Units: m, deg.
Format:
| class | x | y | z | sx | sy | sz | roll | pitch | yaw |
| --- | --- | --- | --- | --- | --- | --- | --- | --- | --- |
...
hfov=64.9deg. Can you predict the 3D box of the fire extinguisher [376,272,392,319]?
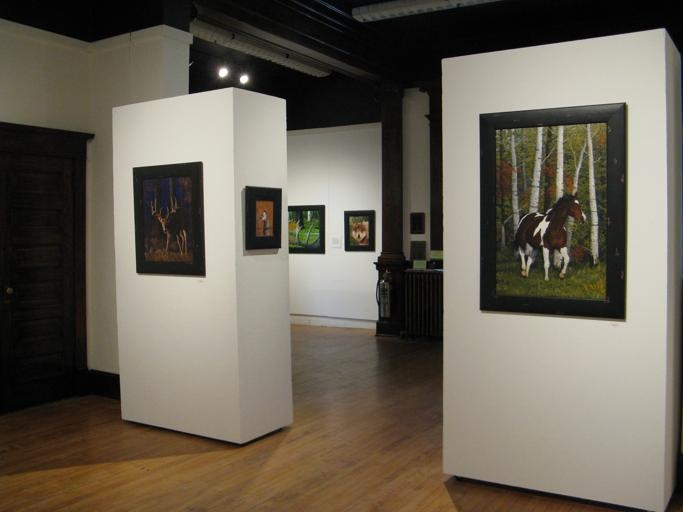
| class | x | y | z | sx | sy | sz | roll | pitch | yaw |
| --- | --- | --- | --- | --- | --- | --- | --- | --- | --- |
| fire extinguisher | 0.824 | 0.753 | 10.344 | 0.280 | 0.928 | 0.235 | 0 | 3 | 16 |
